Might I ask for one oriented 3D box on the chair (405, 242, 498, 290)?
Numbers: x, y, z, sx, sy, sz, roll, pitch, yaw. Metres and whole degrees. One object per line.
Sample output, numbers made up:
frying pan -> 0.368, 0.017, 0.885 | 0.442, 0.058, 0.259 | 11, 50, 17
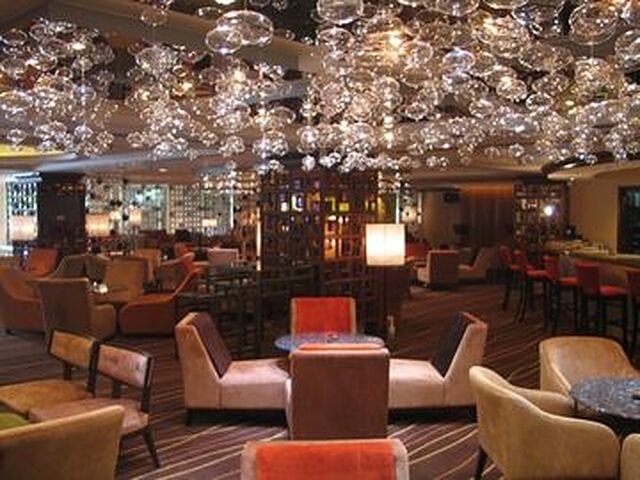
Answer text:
chair -> 3.371, 0.844, 14.074 | 1.527, 0.727, 1.422 | -1, 3, -5

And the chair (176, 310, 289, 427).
chair -> -0.918, 1.265, 5.591 | 1.086, 0.927, 1.041 | 0, 2, -8

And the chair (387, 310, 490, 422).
chair -> 1.155, 1.272, 5.552 | 0.972, 0.836, 0.938 | 0, -3, 0

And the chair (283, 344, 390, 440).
chair -> 0.131, 1.285, 4.588 | 0.699, 0.734, 0.751 | 1, -5, -2

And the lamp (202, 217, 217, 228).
lamp -> -4.273, -0.700, 20.066 | 0.463, 0.287, 0.465 | 0, 0, 3

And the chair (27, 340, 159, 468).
chair -> -1.949, 1.427, 4.380 | 0.777, 0.966, 0.962 | 0, -6, 27
